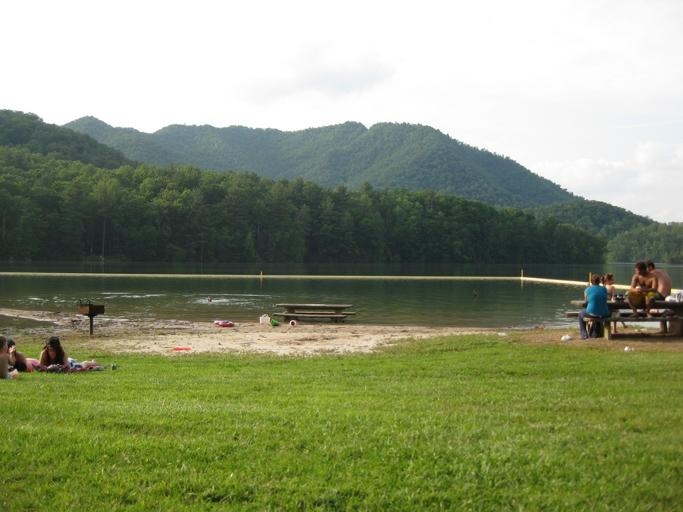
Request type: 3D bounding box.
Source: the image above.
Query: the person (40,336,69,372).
[{"bbox_3d":[-10.228,3.477,34.157,0.989,1.322,0.842,3,15,-1],"label":"person"}]
